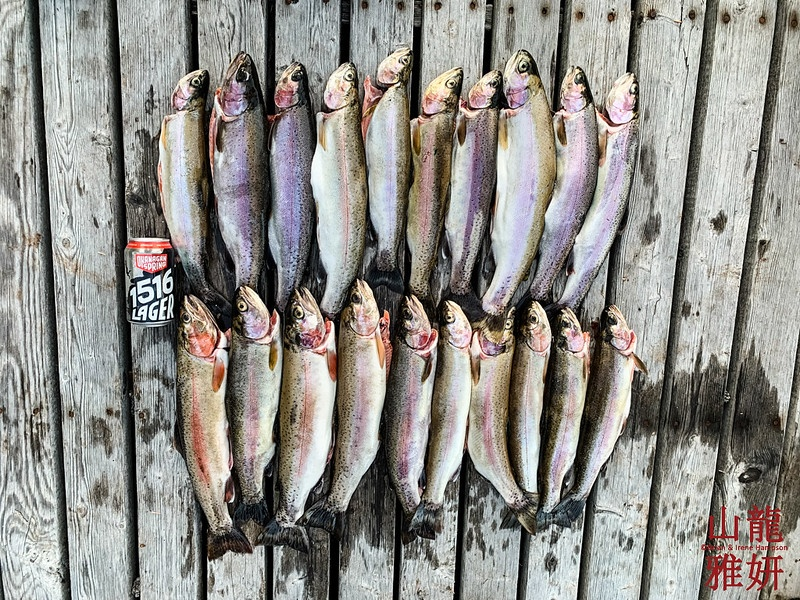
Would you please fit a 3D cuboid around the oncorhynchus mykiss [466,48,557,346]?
[{"bbox_3d":[0.462,-0.421,4.030,0.211,1.095,0.246,1,-1,21],"label":"oncorhynchus mykiss"}]

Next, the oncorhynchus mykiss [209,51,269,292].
[{"bbox_3d":[-0.636,-0.518,4.065,0.197,0.868,0.292,-4,-14,29],"label":"oncorhynchus mykiss"}]

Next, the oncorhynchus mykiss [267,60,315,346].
[{"bbox_3d":[-0.439,-0.398,4.016,0.164,1.075,0.156,1,2,2],"label":"oncorhynchus mykiss"}]

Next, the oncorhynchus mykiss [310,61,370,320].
[{"bbox_3d":[-0.246,-0.441,4.083,0.213,0.962,0.289,0,-12,11],"label":"oncorhynchus mykiss"}]

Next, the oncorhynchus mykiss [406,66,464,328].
[{"bbox_3d":[0.115,-0.469,4.126,0.183,0.893,0.321,4,-12,-6],"label":"oncorhynchus mykiss"}]
